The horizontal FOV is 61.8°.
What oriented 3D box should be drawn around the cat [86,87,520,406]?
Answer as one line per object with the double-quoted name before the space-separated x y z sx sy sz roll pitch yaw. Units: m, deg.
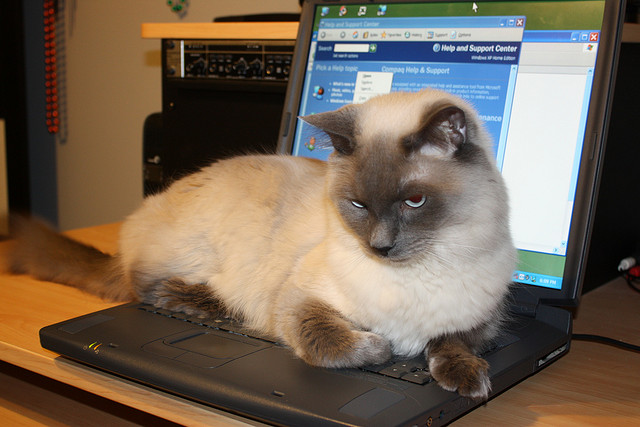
"cat" -0.074 0.037 1.135 0.598 0.442 0.765 -7 21 -27
